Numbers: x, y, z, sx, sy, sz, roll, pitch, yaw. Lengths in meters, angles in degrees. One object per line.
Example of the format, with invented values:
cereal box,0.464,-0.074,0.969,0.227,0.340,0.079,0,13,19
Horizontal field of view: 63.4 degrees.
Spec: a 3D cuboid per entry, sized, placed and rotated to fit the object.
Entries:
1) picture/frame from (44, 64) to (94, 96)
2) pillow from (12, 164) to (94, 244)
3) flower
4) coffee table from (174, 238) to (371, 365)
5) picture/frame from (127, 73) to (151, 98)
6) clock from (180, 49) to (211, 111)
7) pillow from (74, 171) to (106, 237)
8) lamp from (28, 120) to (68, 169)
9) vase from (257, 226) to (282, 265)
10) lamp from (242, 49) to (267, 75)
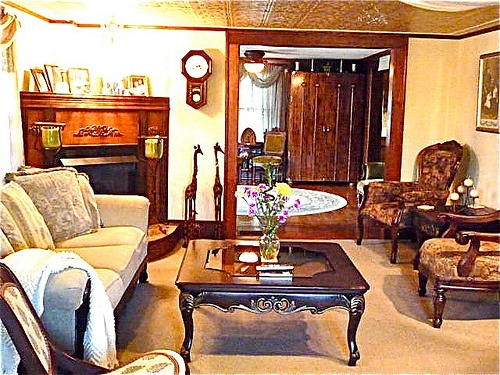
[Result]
picture/frame,-2.294,-1.339,5.042,0.049,0.335,0.501,-14,2,36
pillow,-1.826,0.185,3.648,0.185,0.611,0.631,-19,11,18
flower,0.195,0.211,4.713,0.743,0.509,0.727,-1,4,-42
coffee table,0.163,0.890,3.331,1.472,0.694,0.901,1,12,0
picture/frame,-1.482,-1.356,5.347,0.301,0.287,0.287,1,16,-5
clock,-0.715,-1.444,5.408,0.408,0.761,0.130,-1,13,-7
pillow,-1.583,0.142,3.997,0.145,0.476,0.408,-10,2,-14
lamp,-2.321,-0.485,4.657,0.342,0.519,0.566,-6,14,-30
vase,0.149,0.482,3.298,0.253,0.373,0.233,1,0,-2
lamp,0.077,-2.413,7.665,0.486,0.451,0.476,-1,8,-3
